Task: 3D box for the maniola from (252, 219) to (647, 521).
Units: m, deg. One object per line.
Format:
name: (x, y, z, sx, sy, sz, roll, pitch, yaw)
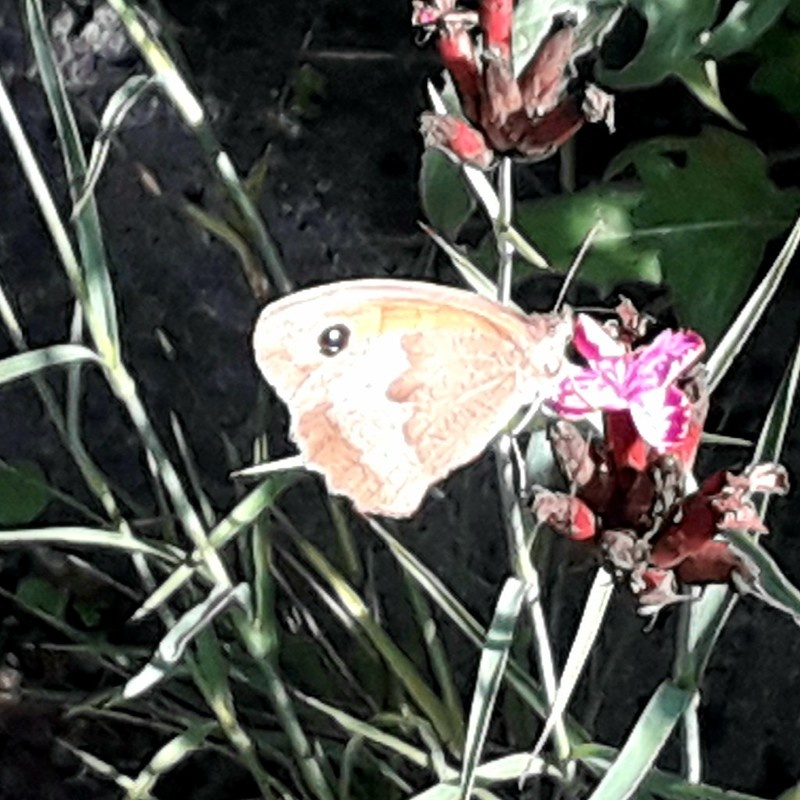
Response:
maniola: (0.001, 0.001, 0.553, 0.159, 0.116, 0.102, 6, 80, 2)
